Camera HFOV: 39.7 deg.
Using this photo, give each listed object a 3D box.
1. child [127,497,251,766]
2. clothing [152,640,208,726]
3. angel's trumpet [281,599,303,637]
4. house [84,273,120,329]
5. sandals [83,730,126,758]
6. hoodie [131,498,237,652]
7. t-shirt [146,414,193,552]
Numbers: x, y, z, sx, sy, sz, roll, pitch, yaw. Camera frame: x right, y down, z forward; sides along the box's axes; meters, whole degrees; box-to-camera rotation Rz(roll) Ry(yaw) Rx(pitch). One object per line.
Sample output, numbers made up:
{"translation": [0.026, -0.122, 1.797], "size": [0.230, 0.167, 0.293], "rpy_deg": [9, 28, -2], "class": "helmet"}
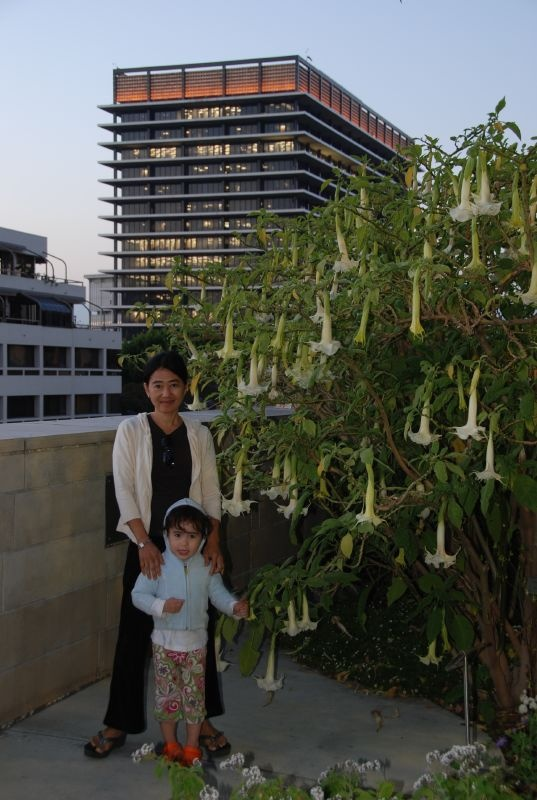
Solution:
{"translation": [-0.274, 0.837, 2.785], "size": [0.398, 0.925, 0.315], "rpy_deg": [3, -3, -38], "class": "child"}
{"translation": [-0.323, 1.039, 2.779], "size": [0.174, 0.359, 0.113], "rpy_deg": [-1, 9, 6], "class": "clothing"}
{"translation": [0.112, 0.997, 3.399], "size": [0.078, 0.203, 0.224], "rpy_deg": [1, -3, 2], "class": "angel's trumpet"}
{"translation": [-24.494, -14.463, 113.364], "size": [6.603, 8.081, 6.421], "rpy_deg": [-3, 4, -36], "class": "house"}
{"translation": [-0.627, 1.313, 2.866], "size": [0.081, 0.057, 0.152], "rpy_deg": [11, 1, 39], "class": "sandals"}
{"translation": [-0.298, 0.665, 2.788], "size": [0.402, 0.524, 0.238], "rpy_deg": [2, -4, -6], "class": "hoodie"}
{"translation": [-0.401, 0.315, 2.836], "size": [0.262, 0.454, 0.243], "rpy_deg": [2, -6, -18], "class": "t-shirt"}
